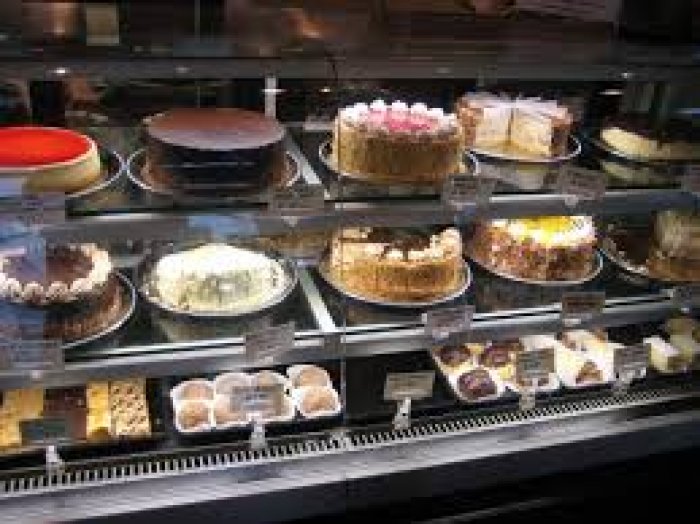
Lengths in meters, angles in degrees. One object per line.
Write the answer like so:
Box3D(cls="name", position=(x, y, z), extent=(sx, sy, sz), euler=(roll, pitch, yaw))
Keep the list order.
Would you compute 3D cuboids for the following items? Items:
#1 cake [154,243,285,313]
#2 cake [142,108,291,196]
Box3D(cls="cake", position=(-0.551, 0.037, 2.304), extent=(0.575, 0.254, 0.287), euler=(-3, 30, -7))
Box3D(cls="cake", position=(-0.463, -0.453, 2.011), extent=(0.416, 0.126, 0.398), euler=(-16, 37, -34))
